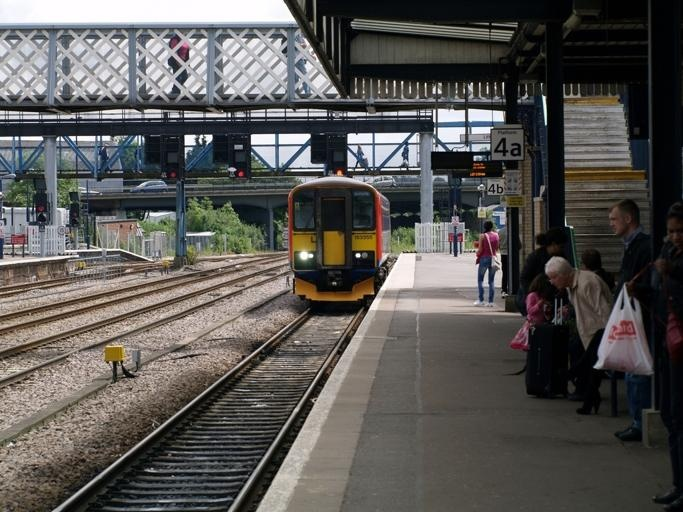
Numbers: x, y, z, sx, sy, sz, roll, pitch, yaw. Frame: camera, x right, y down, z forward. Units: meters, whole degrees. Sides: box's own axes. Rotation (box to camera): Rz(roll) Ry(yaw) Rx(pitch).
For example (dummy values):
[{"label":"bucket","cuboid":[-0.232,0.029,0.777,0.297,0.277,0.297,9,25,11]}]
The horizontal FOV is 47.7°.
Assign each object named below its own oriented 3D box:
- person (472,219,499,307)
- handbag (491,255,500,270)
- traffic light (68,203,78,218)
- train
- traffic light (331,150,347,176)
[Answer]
[{"label":"person","cuboid":[3.288,0.186,17.388,0.510,1.939,0.869,0,5,11]},{"label":"handbag","cuboid":[3.503,0.155,17.407,0.206,0.364,0.374,3,12,7]},{"label":"traffic light","cuboid":[-14.795,-2.496,43.165,0.436,0.816,0.619,-3,5,-26]},{"label":"train","cuboid":[-0.131,-0.443,20.101,2.341,3.130,1.033,-2,5,-13]},{"label":"traffic light","cuboid":[-0.102,-4.454,35.994,0.752,0.963,0.869,-1,5,1]}]
